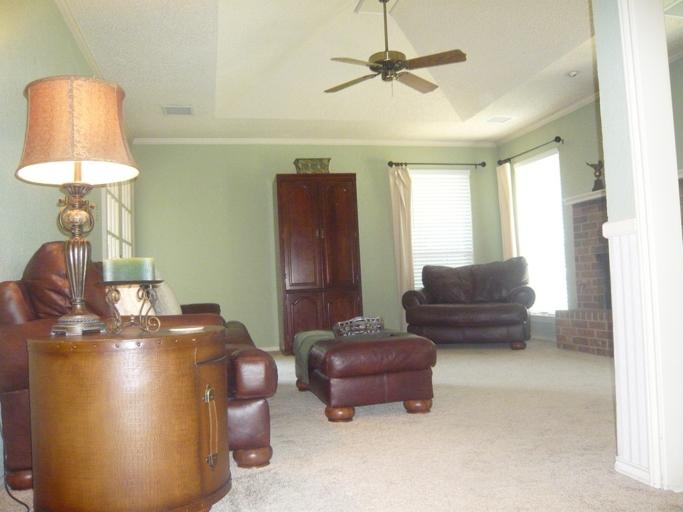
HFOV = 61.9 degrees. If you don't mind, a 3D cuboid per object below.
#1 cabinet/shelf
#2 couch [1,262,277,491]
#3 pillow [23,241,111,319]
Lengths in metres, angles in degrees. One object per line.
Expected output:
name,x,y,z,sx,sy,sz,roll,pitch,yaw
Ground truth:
cabinet/shelf,-0.260,0.064,6.968,0.985,2.158,0.429,-2,3,-2
couch,-1.155,0.524,3.295,1.169,0.943,1.212,0,-5,-18
pillow,-1.435,0.140,2.956,0.199,0.347,0.373,-17,-7,8
